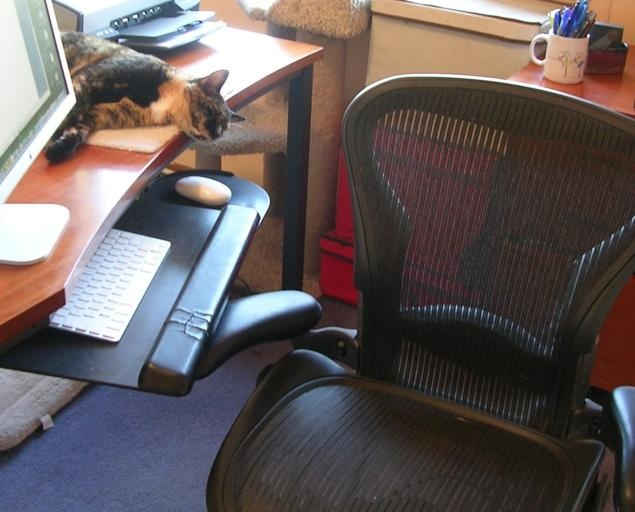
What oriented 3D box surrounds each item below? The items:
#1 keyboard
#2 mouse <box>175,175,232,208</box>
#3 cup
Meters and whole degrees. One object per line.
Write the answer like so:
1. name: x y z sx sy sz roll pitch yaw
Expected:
1. keyboard: -0.348 0.069 0.906 0.119 0.016 0.230 16 44 3
2. mouse: -0.240 -0.151 1.123 0.097 0.036 0.063 16 41 23
3. cup: 0.631 -0.529 1.451 0.161 0.158 0.111 10 36 25
